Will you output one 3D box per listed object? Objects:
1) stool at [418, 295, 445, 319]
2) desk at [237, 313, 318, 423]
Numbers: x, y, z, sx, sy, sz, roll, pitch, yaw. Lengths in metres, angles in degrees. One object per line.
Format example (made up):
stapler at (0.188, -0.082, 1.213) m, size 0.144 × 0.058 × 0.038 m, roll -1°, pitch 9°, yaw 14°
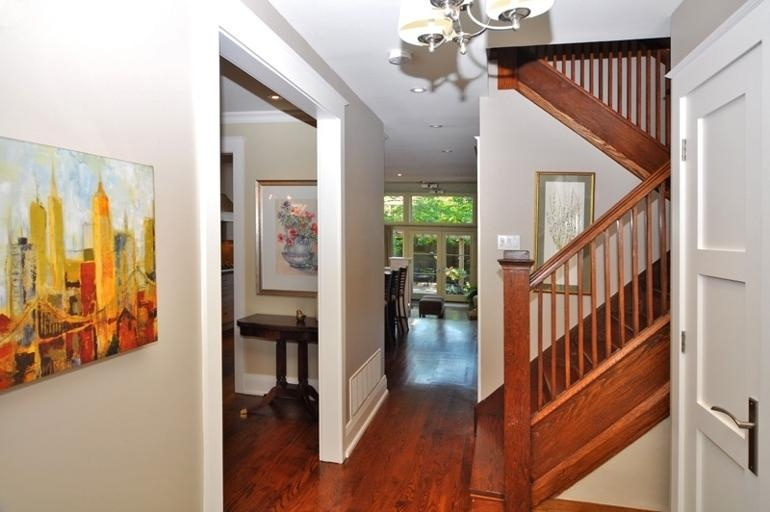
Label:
stool at (0.819, 0.869, 9.722) m, size 0.313 × 0.239 × 0.480 m, roll 0°, pitch 3°, yaw 7°
desk at (-0.971, 1.025, 5.170) m, size 0.839 × 0.804 × 0.509 m, roll 2°, pitch 6°, yaw 14°
